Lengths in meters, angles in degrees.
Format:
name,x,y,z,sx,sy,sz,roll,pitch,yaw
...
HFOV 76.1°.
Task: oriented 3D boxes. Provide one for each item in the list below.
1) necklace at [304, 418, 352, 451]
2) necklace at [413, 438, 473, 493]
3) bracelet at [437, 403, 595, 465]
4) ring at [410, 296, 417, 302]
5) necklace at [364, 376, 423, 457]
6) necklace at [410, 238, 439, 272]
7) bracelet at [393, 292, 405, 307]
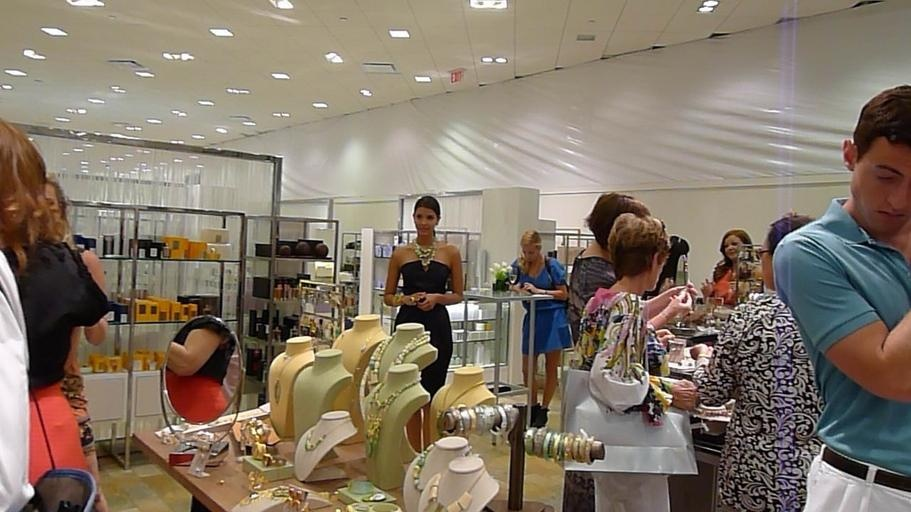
name,x,y,z,sx,sy,sz,roll,pitch,yaw
necklace,-0.711,0.973,3.279,0.186,0.135,0.275,-6,0,-40
necklace,-0.078,1.024,2.899,0.301,0.267,0.218,3,-6,-4
bracelet,0.306,0.887,2.916,0.472,0.161,0.463,6,-3,-34
ring,-0.334,0.343,4.712,0.064,0.051,0.036,1,-3,-2
necklace,-0.330,0.873,3.259,0.341,0.525,0.158,-1,1,-11
necklace,-0.259,-0.003,4.951,0.168,0.245,0.070,-3,-24,-4
bracelet,-0.466,0.364,4.826,0.079,0.099,0.099,0,4,-12
